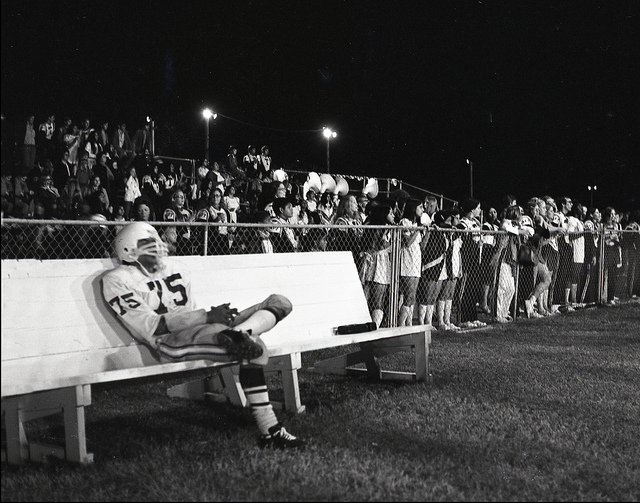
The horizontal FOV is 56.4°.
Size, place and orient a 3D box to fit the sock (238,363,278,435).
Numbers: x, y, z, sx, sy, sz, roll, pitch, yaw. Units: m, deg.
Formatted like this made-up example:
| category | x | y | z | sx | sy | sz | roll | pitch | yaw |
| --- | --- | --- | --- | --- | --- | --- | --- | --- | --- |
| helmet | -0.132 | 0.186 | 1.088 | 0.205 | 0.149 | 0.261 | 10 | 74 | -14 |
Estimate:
| category | x | y | z | sx | sy | sz | roll | pitch | yaw |
| --- | --- | --- | --- | --- | --- | --- | --- | --- | --- |
| sock | -0.467 | 1.194 | 4.584 | 0.189 | 0.624 | 0.166 | -31 | -42 | 3 |

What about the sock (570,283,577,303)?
| category | x | y | z | sx | sy | sz | roll | pitch | yaw |
| --- | --- | --- | --- | --- | --- | --- | --- | --- | --- |
| sock | 5.507 | 0.889 | 12.983 | 0.137 | 0.432 | 0.316 | 0 | 2 | 24 |

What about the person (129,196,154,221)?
| category | x | y | z | sx | sy | sz | roll | pitch | yaw |
| --- | --- | --- | --- | --- | --- | --- | --- | --- | --- |
| person | -2.201 | -0.539 | 7.432 | 0.239 | 0.322 | 0.738 | -1 | 2 | -18 |

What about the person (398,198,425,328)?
| category | x | y | z | sx | sy | sz | roll | pitch | yaw |
| --- | --- | --- | --- | --- | --- | --- | --- | --- | --- |
| person | 1.461 | 0.210 | 9.370 | 0.509 | 2.123 | 0.603 | -1 | 1 | 11 |

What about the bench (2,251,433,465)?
| category | x | y | z | sx | sy | sz | roll | pitch | yaw |
| --- | --- | --- | --- | --- | --- | --- | --- | --- | --- |
| bench | -0.701 | 0.766 | 6.134 | 4.971 | 1.523 | 2.423 | -2 | 3 | -44 |

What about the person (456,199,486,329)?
| category | x | y | z | sx | sy | sz | roll | pitch | yaw |
| --- | --- | --- | --- | --- | --- | --- | --- | --- | --- |
| person | 2.645 | 0.176 | 10.425 | 0.475 | 2.201 | 0.960 | 0 | 1 | 16 |

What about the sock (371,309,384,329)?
| category | x | y | z | sx | sy | sz | roll | pitch | yaw |
| --- | --- | --- | --- | --- | --- | --- | --- | --- | --- |
| sock | 0.874 | 0.971 | 8.993 | 0.207 | 0.403 | 0.097 | 3 | -2 | -17 |

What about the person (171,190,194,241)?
| category | x | y | z | sx | sy | sz | roll | pitch | yaw |
| --- | --- | --- | --- | --- | --- | --- | --- | --- | --- |
| person | -2.011 | -0.613 | 8.870 | 0.251 | 0.296 | 0.865 | -4 | -42 | 5 |

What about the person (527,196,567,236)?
| category | x | y | z | sx | sy | sz | roll | pitch | yaw |
| --- | --- | --- | --- | --- | --- | --- | --- | --- | --- |
| person | 4.365 | -0.658 | 11.485 | 0.576 | 0.767 | 0.564 | 2 | 5 | 45 |

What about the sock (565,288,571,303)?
| category | x | y | z | sx | sy | sz | roll | pitch | yaw |
| --- | --- | --- | --- | --- | --- | --- | --- | --- | --- |
| sock | 5.311 | 0.933 | 12.798 | 0.054 | 0.338 | 0.482 | 1 | 2 | 31 |
